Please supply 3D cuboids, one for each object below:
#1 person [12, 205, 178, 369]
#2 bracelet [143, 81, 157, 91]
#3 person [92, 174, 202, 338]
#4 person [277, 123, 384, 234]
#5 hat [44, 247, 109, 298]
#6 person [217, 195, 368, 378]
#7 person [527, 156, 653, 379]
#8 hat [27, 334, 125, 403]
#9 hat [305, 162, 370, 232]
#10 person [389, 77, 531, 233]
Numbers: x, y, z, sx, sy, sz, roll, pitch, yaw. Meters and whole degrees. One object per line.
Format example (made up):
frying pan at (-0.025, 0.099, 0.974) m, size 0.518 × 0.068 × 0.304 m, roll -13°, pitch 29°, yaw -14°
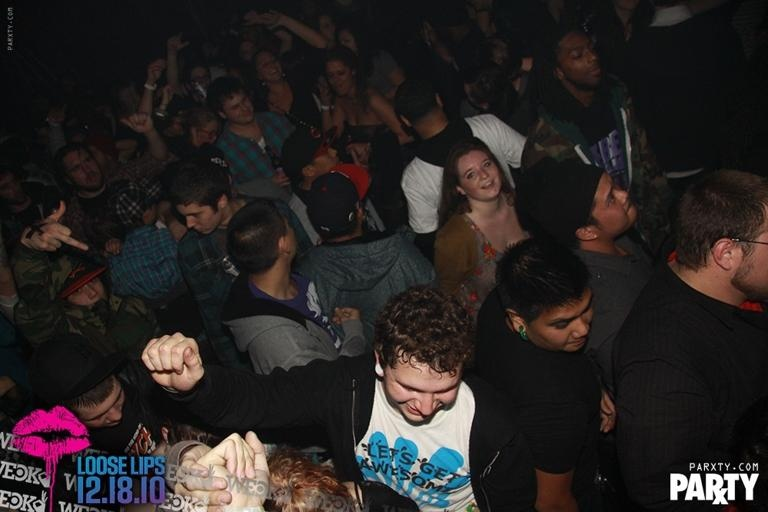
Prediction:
person at (-2.105, 0.173, 4.187) m, size 0.920 × 0.653 × 0.418 m, roll 12°, pitch 56°, yaw 34°
bracelet at (-1.556, -1.121, 4.189) m, size 0.059 × 0.033 × 0.061 m, roll -4°, pitch -4°, yaw 6°
person at (-1.543, 0.005, 4.086) m, size 0.716 × 0.883 × 0.318 m, roll -16°, pitch 16°, yaw -23°
person at (-0.511, -0.643, 4.621) m, size 0.545 × 0.837 × 0.471 m, roll -38°, pitch -10°, yaw 10°
hat at (-1.942, 0.088, 4.017) m, size 0.336 × 0.269 × 0.092 m, roll -13°, pitch 10°, yaw 3°
person at (-0.563, 0.197, 3.888) m, size 0.615 × 1.372 × 0.532 m, roll 24°, pitch 76°, yaw 31°
person at (1.525, 0.001, 4.436) m, size 0.662 × 1.183 × 1.361 m, roll -26°, pitch 9°, yaw 31°
hat at (-1.861, 0.662, 3.731) m, size 0.487 × 0.253 × 0.354 m, roll -12°, pitch 34°, yaw 29°
hat at (-0.305, -0.417, 4.183) m, size 0.347 × 0.466 × 0.250 m, roll 20°, pitch -12°, yaw 19°
person at (0.485, -0.679, 4.372) m, size 0.552 × 0.977 × 0.348 m, roll -44°, pitch 30°, yaw 5°
